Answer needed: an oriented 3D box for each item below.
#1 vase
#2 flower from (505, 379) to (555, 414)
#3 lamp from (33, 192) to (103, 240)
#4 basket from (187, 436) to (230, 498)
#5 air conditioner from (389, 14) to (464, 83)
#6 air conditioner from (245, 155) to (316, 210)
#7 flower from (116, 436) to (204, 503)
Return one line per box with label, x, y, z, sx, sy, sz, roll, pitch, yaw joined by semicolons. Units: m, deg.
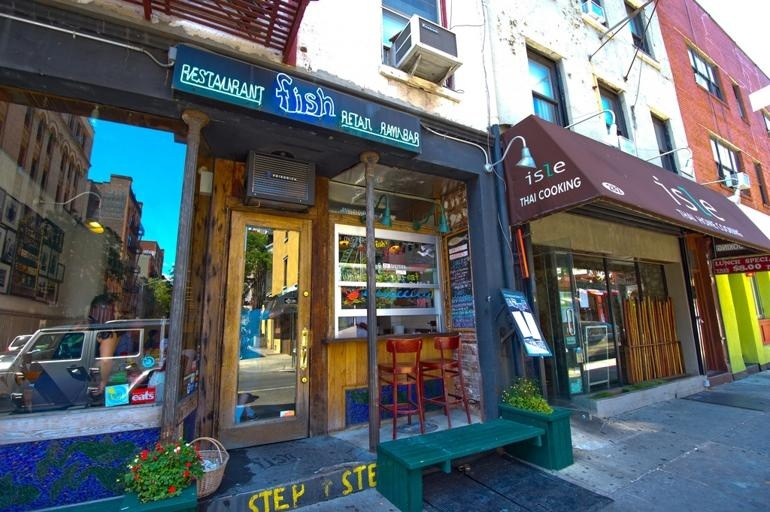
vase;2.308;2.721;6.893;0.539;0.719;0.989;3;-9;-32
flower;2.191;2.180;6.998;0.563;0.263;0.554;1;-1;-37
lamp;-4.015;-0.655;5.895;0.674;0.353;0.226;16;-12;-19
basket;-2.253;2.646;5.635;0.460;0.539;0.553;-5;-15;7
air conditioner;0.691;-3.376;7.589;0.962;0.831;0.684;4;-13;-27
air conditioner;-1.655;-1.135;6.965;0.777;0.555;0.295;7;-23;-25
flower;-2.498;2.440;5.099;0.708;0.316;0.673;17;4;9
